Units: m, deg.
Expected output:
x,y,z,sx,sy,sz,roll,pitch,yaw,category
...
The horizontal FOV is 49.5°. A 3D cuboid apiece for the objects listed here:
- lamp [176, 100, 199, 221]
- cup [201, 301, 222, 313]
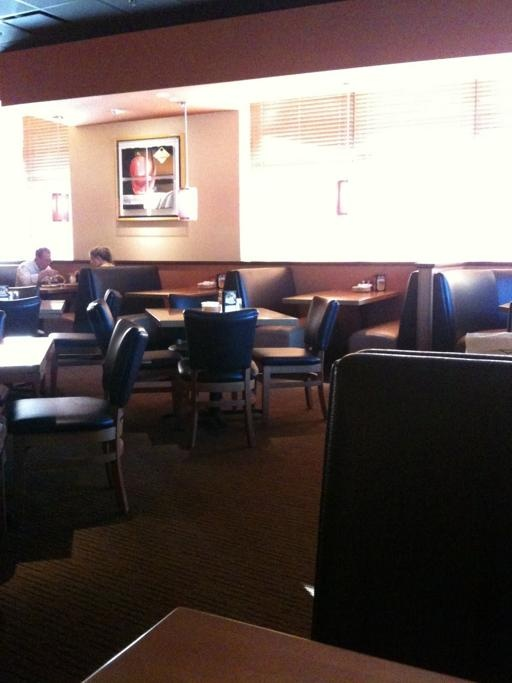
x,y,z,sx,sy,sz,roll,pitch,yaw,category
-0.839,-2.203,6.945,0.208,1.368,0.681,0,7,-5,lamp
-0.332,-0.258,4.143,0.135,0.129,0.137,1,12,0,cup
